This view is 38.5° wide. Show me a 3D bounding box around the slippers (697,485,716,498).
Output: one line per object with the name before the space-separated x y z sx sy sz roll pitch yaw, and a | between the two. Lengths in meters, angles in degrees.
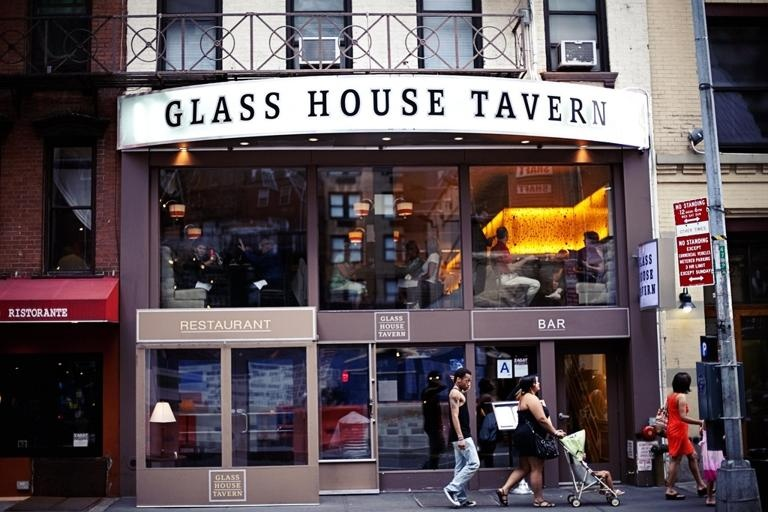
slippers | 6.842 4.924 23.229 0.193 0.206 0.553 -2 -1 31

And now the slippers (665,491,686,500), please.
slippers | 6.205 5.086 23.475 0.300 0.111 0.172 -2 -3 4

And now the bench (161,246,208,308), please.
bench | -4.662 0.448 25.730 1.058 1.516 1.501 0 -5 -7

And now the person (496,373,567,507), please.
person | 3.092 3.902 23.165 1.284 2.718 0.545 -3 -5 8

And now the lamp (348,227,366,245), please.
lamp | -0.624 -0.436 25.196 0.280 0.347 0.380 -4 -16 16

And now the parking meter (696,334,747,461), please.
parking meter | 6.776 2.793 22.257 0.836 2.326 0.816 -5 -6 36

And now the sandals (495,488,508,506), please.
sandals | 2.491 5.083 23.256 0.180 0.467 0.170 -15 29 5

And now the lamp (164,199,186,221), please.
lamp | -4.749 -1.029 24.968 0.374 0.308 0.419 -1 -10 -2

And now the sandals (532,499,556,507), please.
sandals | 3.378 5.171 23.170 0.439 0.182 0.186 -2 -1 -4

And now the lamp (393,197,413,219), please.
lamp | 0.472 -1.081 25.301 0.389 0.358 0.448 0 -8 -1

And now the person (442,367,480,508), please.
person | 1.632 3.856 23.572 0.702 2.873 1.328 -2 -5 4

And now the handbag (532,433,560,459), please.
handbag | 3.358 3.961 23.042 0.634 0.663 0.285 0 -23 -17

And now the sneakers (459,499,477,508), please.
sneakers | 1.767 5.213 23.320 0.407 0.183 0.144 0 2 -14

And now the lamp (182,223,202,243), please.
lamp | -4.384 -0.533 25.114 0.345 0.324 0.347 4 -5 -37

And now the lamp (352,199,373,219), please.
lamp | -0.482 -1.077 25.243 0.428 0.402 0.341 4 -10 -17

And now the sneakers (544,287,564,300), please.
sneakers | 3.951 0.864 25.356 0.224 0.132 0.306 8 -16 -38
